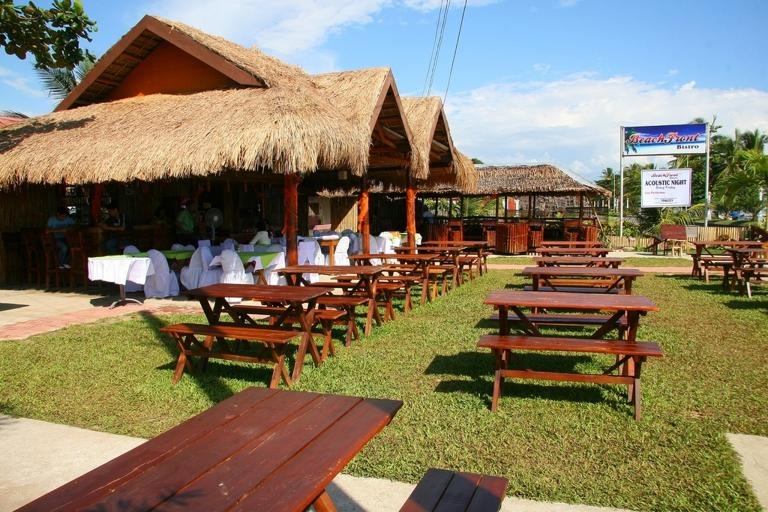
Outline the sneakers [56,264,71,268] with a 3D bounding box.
[{"bbox_3d":[-7.615,0.235,12.805,0.307,0.134,0.115,-2,0,17],"label":"sneakers"}]
